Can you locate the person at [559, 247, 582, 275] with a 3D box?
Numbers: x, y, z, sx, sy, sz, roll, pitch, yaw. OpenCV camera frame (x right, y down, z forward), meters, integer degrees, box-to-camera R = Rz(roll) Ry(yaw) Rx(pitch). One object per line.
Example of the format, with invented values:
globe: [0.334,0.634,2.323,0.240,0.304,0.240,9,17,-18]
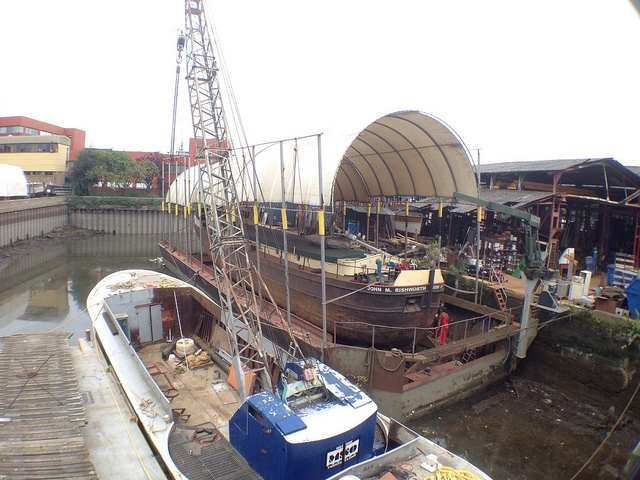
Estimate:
person: [15.037,1.319,28.184,1.273,1.658,0.902,-2,8,-23]
